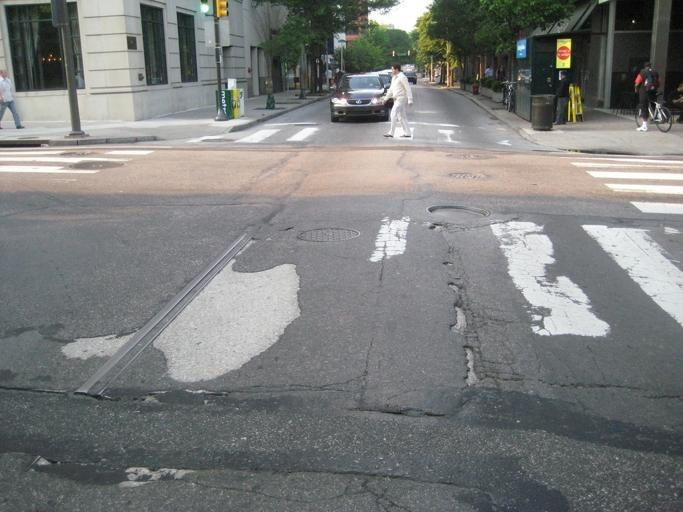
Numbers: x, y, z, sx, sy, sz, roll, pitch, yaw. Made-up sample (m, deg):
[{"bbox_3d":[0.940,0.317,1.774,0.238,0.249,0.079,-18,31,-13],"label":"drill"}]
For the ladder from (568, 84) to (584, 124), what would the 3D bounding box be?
[{"bbox_3d":[9.270,-6.022,23.982,0.581,1.451,1.422,5,22,20],"label":"ladder"}]

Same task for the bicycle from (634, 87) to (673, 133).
[{"bbox_3d":[10.549,-4.807,20.567,1.779,1.051,0.767,-2,6,-25],"label":"bicycle"}]

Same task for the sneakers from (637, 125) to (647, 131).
[{"bbox_3d":[10.154,-4.288,20.496,0.290,0.124,0.138,12,26,36],"label":"sneakers"}]

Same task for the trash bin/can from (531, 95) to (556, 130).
[{"bbox_3d":[6.979,-4.947,21.122,0.893,1.207,0.900,5,10,17],"label":"trash bin/can"}]

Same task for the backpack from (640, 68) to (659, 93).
[{"bbox_3d":[10.461,-5.971,20.581,0.545,0.781,0.359,7,22,24],"label":"backpack"}]
